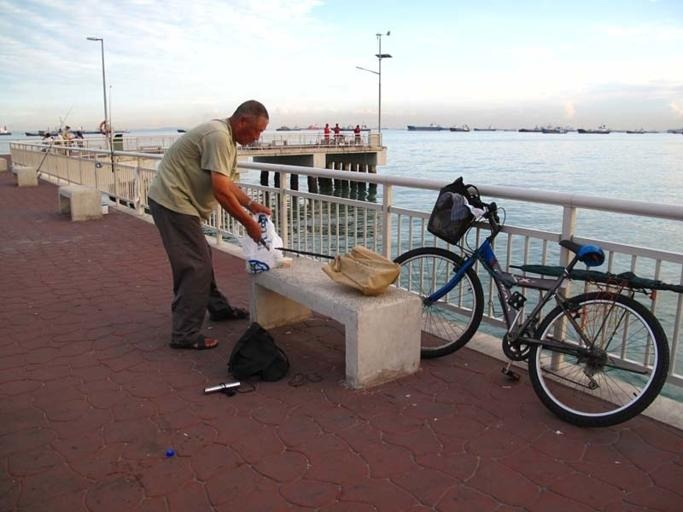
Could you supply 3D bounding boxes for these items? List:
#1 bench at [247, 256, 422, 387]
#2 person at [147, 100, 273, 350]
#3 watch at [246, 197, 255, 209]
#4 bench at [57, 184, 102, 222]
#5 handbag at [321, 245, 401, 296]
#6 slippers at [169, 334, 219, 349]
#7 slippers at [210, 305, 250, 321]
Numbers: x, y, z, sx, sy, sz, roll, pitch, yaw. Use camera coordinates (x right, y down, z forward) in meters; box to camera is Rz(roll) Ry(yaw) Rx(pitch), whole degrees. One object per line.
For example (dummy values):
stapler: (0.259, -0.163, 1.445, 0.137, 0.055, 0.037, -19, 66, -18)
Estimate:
bench: (-0.145, 0.557, 4.716, 0.764, 0.650, 1.905, -8, 14, -36)
person: (-1.281, -0.361, 5.027, 1.173, 2.307, 1.273, 4, 5, 21)
watch: (-0.879, -0.510, 4.733, 0.041, 0.104, 0.083, 18, 2, 25)
bench: (-6.475, -1.349, 11.926, 0.689, 0.668, 1.430, -15, 24, -43)
handbag: (0.174, 0.096, 4.230, 0.683, 0.410, 0.614, -4, 16, -44)
slippers: (-1.417, 0.814, 4.662, 0.396, 0.120, 0.163, -3, 6, -11)
slippers: (-1.225, 0.615, 5.432, 0.478, 0.176, 0.166, -4, 13, -16)
